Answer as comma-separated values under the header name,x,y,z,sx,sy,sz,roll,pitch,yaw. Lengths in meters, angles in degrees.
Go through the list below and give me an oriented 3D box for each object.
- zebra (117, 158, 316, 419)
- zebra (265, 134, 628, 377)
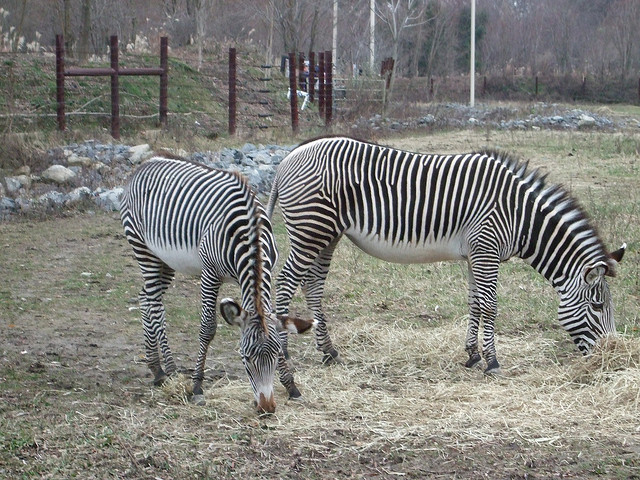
name,x,y,z,sx,sy,sz,roll,pitch,yaw
zebra,-1.497,0.533,14.306,1.317,3.258,5.050,1,14,-29
zebra,1.717,0.395,14.833,4.871,3.339,1.541,4,3,1
